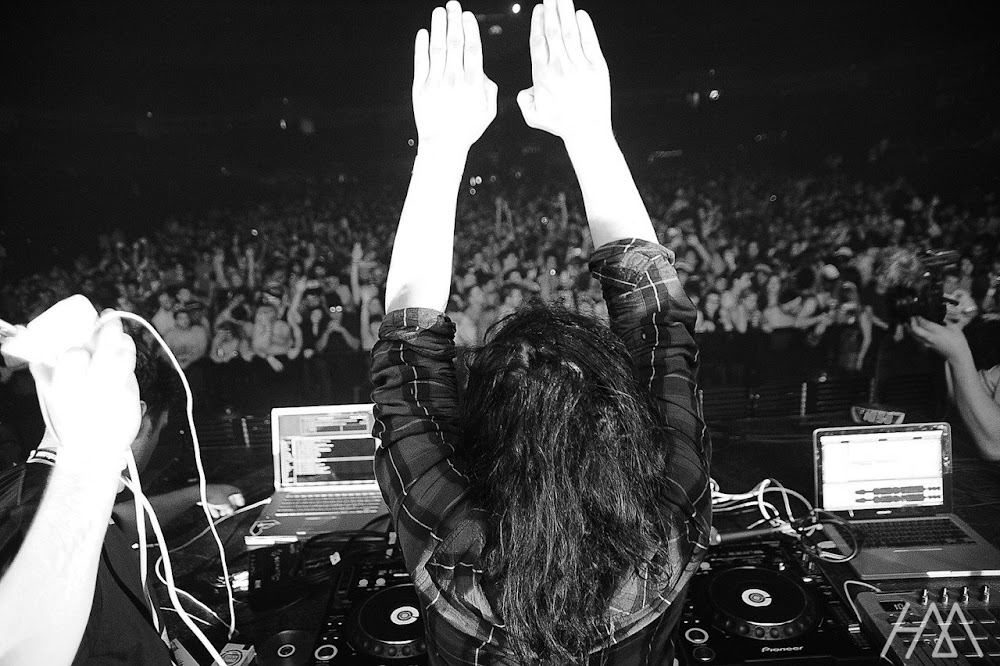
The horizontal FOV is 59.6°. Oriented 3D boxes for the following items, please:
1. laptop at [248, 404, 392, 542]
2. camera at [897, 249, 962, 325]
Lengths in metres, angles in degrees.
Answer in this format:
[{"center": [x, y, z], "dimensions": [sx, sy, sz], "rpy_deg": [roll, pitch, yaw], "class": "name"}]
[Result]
[{"center": [-0.713, 0.567, 3.602], "dimensions": [0.579, 0.358, 0.524], "rpy_deg": [-1, 6, -4], "class": "laptop"}, {"center": [2.174, -0.245, 4.498], "dimensions": [0.318, 0.377, 0.132], "rpy_deg": [-3, 1, -6], "class": "camera"}]
